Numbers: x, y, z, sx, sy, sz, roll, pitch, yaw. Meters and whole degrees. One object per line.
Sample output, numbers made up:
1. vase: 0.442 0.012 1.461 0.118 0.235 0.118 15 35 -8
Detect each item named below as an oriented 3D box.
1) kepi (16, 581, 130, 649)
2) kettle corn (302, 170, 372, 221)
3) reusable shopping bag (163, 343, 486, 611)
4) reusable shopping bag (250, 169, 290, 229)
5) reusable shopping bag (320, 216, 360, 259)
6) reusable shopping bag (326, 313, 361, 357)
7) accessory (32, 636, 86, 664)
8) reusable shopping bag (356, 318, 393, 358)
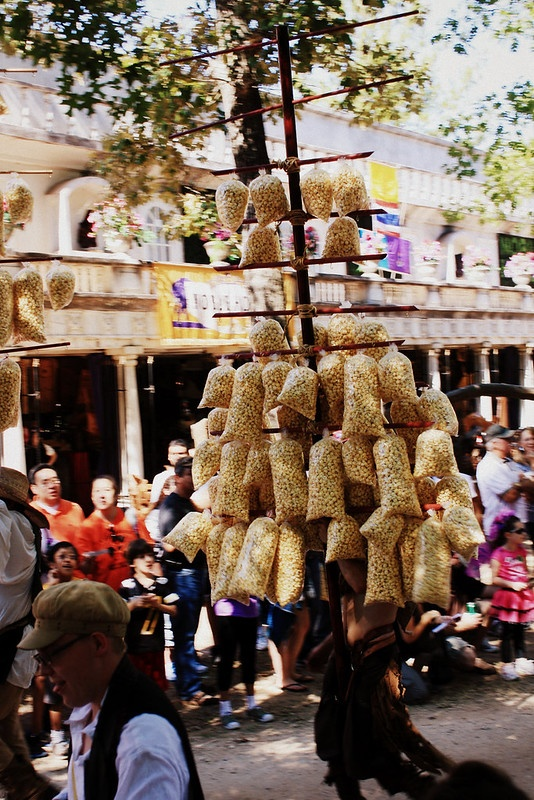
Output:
1. kepi: -0.489 0.531 1.974 0.256 0.110 0.169 2 -5 -20
2. kettle corn: 0.293 -0.879 3.392 0.285 0.215 0.177 -2 -4 4
3. reusable shopping bag: 0.274 0.381 3.166 1.336 1.025 0.360 -1 -10 14
4. reusable shopping bag: 0.028 -0.861 3.398 0.197 0.233 0.166 -1 -4 -16
5. reusable shopping bag: 0.327 -0.697 3.430 0.156 0.207 0.181 -2 -4 4
6. reusable shopping bag: 0.329 -0.278 3.505 0.201 0.198 0.171 3 -7 3
7. accessory: -0.508 0.615 1.942 0.097 0.026 0.092 -24 -2 -37
8. reusable shopping bag: 0.485 -0.262 3.459 0.155 0.158 0.097 1 -16 0
